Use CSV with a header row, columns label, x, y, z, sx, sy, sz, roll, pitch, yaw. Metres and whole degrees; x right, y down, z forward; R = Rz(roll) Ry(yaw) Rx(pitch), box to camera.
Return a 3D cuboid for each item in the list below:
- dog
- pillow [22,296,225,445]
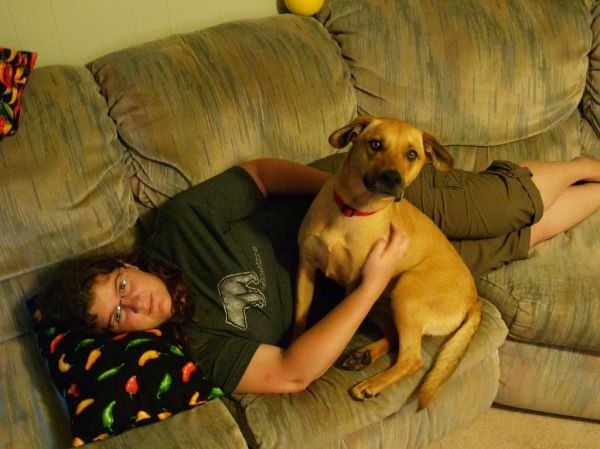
label,x,y,z,sx,sy,sz,roll,pitch,yaw
dog,0.350,0.123,2.105,0.731,1.031,0.675,-29,37,-35
pillow,-0.629,0.503,1.871,0.443,0.145,0.470,7,38,-36
